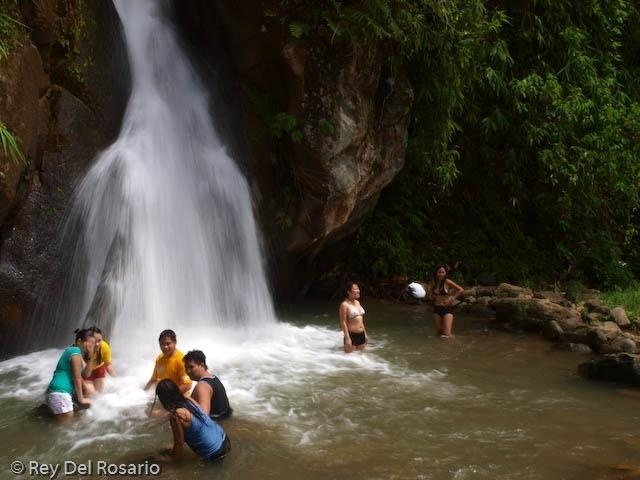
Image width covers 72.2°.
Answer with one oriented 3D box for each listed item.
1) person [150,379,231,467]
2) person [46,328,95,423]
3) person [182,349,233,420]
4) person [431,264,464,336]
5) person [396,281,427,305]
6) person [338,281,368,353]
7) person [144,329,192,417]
[{"bbox_3d":[-1.484,2.012,5.091,0.735,1.067,0.510,1,24,7],"label":"person"},{"bbox_3d":[-3.582,1.994,6.317,0.480,1.349,0.368,0,31,-32],"label":"person"},{"bbox_3d":[-1.534,1.990,5.952,0.406,0.522,0.795,2,-36,3],"label":"person"},{"bbox_3d":[2.755,1.590,9.988,0.616,2.037,0.690,-7,6,-33],"label":"person"},{"bbox_3d":[2.842,1.620,13.525,0.856,0.633,0.580,6,8,36],"label":"person"},{"bbox_3d":[0.650,1.557,8.843,0.550,1.313,0.456,-2,7,-25],"label":"person"},{"bbox_3d":[-2.266,1.916,6.423,0.656,1.134,0.742,0,2,-1],"label":"person"}]
